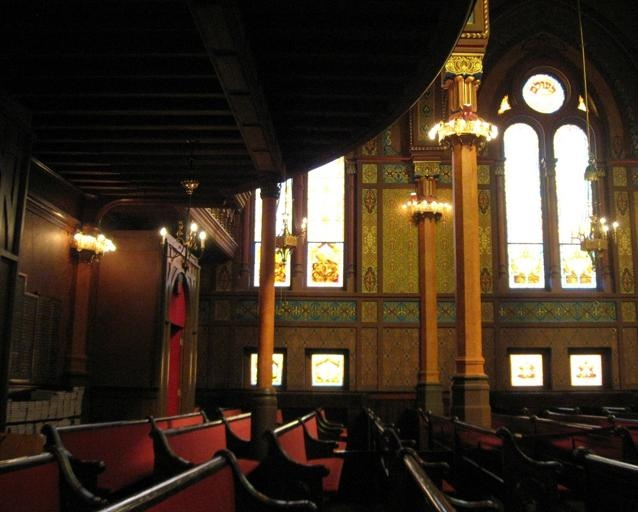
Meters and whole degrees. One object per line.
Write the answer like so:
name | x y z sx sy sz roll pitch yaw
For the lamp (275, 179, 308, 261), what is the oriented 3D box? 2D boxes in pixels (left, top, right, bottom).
lamp | -0.640 -0.752 12.144 0.726 1.759 0.713 5 -16 -15

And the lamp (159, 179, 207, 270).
lamp | -2.140 -0.506 9.985 0.825 1.398 0.854 4 0 16

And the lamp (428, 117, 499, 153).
lamp | 2.290 -1.901 9.653 0.704 0.319 0.739 0 -2 16

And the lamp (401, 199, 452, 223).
lamp | 2.348 -0.999 13.180 0.676 0.289 0.677 0 2 -30
